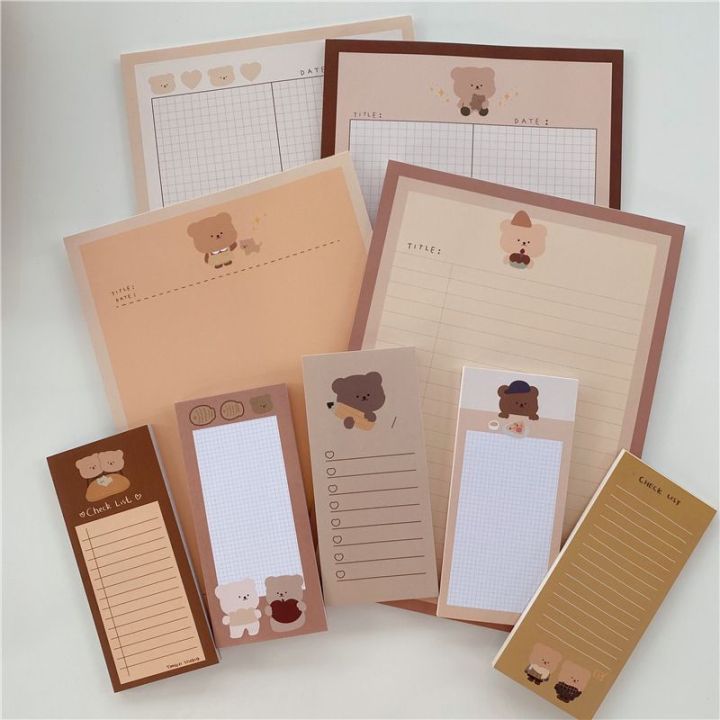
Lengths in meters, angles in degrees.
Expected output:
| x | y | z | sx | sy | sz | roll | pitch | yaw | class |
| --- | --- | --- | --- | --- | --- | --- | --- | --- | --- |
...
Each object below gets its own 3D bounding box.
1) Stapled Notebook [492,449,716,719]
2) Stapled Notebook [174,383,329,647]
| x | y | z | sx | sy | sz | roll | pitch | yaw | class |
| --- | --- | --- | --- | --- | --- | --- | --- | --- | --- |
| 0.301 | 0.281 | 0.926 | 0.266 | 0.331 | 0.060 | -4 | 10 | -18 | Stapled Notebook |
| -0.137 | 0.197 | 0.939 | 0.173 | 0.324 | 0.075 | -2 | 10 | -6 | Stapled Notebook |
